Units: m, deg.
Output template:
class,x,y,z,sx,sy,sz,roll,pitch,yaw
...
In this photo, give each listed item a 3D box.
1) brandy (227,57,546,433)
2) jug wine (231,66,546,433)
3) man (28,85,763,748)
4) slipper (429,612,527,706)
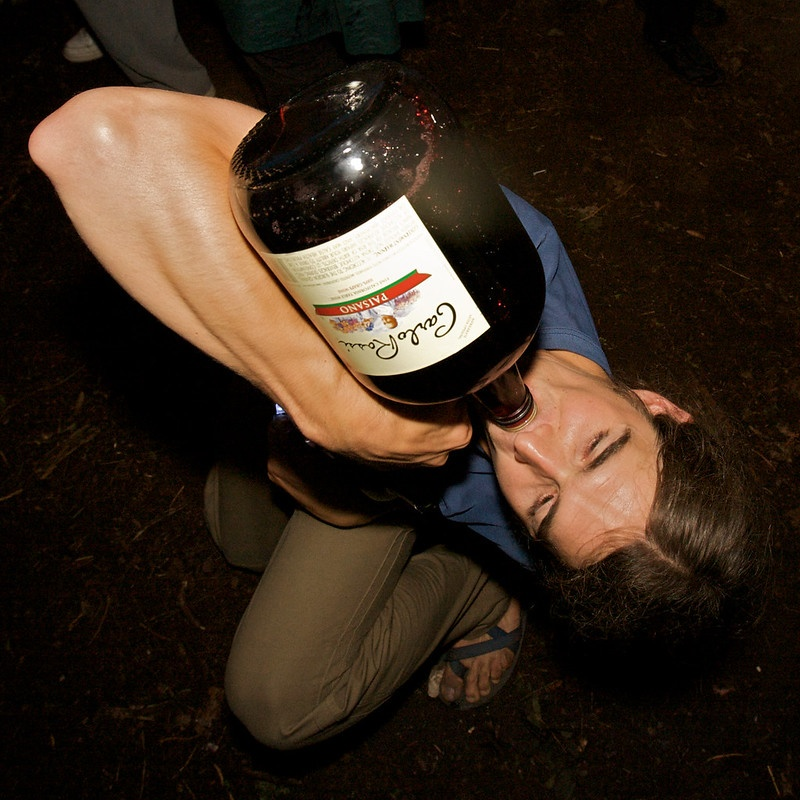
class,x,y,z,sx,sy,sz,roll,pitch,yaw
brandy,-0.013,-0.300,1.228,0.637,0.264,0.261,57,30,-5
jug wine,0.007,-0.155,1.252,0.306,0.562,0.285,-24,45,-25
man,-0.005,0.190,2.041,1.035,1.912,0.848,-4,42,-9
slipper,0.234,0.659,2.207,0.163,0.301,0.081,43,11,7
